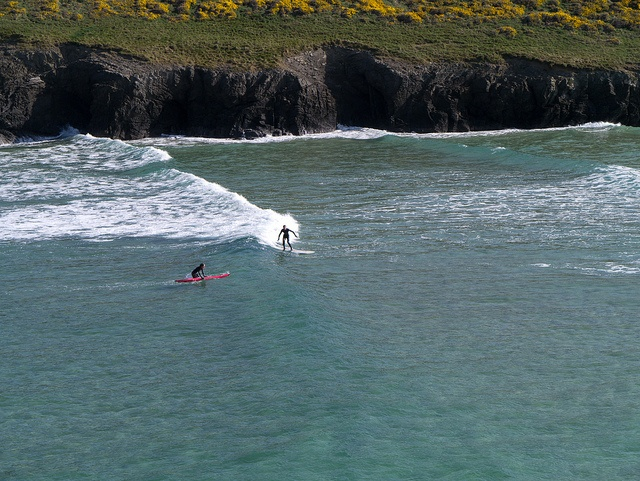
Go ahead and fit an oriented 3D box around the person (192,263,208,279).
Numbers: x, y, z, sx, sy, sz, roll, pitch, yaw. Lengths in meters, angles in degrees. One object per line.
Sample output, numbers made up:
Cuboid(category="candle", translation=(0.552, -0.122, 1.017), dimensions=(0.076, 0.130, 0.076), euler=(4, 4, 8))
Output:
Cuboid(category="person", translation=(-7.409, 1.811, 77.232), dimensions=(0.769, 0.911, 1.054), euler=(0, 7, -6))
